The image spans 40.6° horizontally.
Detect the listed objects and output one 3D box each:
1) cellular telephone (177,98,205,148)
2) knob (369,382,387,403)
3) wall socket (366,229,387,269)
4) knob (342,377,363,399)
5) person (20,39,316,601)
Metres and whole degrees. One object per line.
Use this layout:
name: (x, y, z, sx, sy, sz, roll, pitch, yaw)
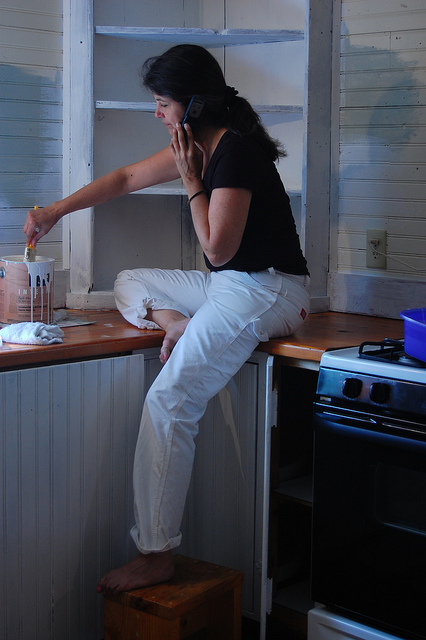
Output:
cellular telephone: (-0.052, -0.472, 1.385, 0.055, 0.104, 0.075, -2, 6, -27)
knob: (0.295, 0.133, 1.036, 0.030, 0.038, 0.015, 3, 6, 29)
wall socket: (0.539, -0.235, 1.912, 0.075, 0.126, 0.014, 5, 7, 43)
knob: (0.264, 0.129, 1.089, 0.025, 0.047, 0.034, 5, 7, -22)
person: (-0.127, -0.047, 1.455, 0.738, 1.183, 0.592, -3, 12, -2)
